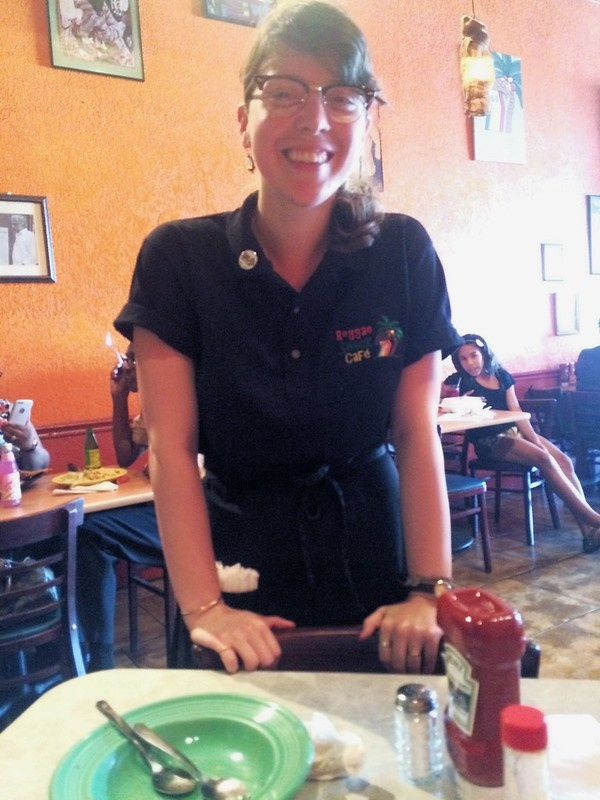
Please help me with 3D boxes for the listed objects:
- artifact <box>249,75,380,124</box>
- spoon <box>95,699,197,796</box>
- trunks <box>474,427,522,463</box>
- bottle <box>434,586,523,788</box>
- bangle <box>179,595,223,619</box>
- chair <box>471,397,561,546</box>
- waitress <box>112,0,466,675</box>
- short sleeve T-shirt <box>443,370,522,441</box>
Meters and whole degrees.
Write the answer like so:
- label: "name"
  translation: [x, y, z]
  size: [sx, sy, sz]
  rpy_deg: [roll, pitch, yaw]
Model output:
- label: "artifact"
  translation: [0.039, -0.436, 0.995]
  size: [0.208, 0.072, 0.079]
  rpy_deg: [-3, 7, -19]
- label: "spoon"
  translation: [-0.147, 0.318, 0.660]
  size: [0.037, 0.019, 0.165]
  rpy_deg: [-3, 11, -34]
- label: "trunks"
  translation: [1.331, 0.312, 4.614]
  size: [0.304, 0.276, 0.208]
  rpy_deg: [1, -12, 5]
- label: "bottle"
  translation: [0.164, 0.262, 0.615]
  size: [0.076, 0.168, 0.190]
  rpy_deg: [0, 7, 16]
- label: "bangle"
  translation: [-0.135, 0.297, 0.946]
  size: [0.055, 0.023, 0.038]
  rpy_deg: [-3, 6, -13]
- label: "chair"
  translation: [1.573, 0.551, 4.832]
  size: [0.775, 1.061, 0.694]
  rpy_deg: [-1, 4, 30]
- label: "waitress"
  translation: [-0.028, -0.107, 1.006]
  size: [0.538, 0.934, 0.478]
  rpy_deg: [-1, 7, 7]
- label: "short sleeve T-shirt"
  translation: [1.261, 0.038, 4.662]
  size: [0.494, 0.426, 0.260]
  rpy_deg: [-6, -8, -3]
